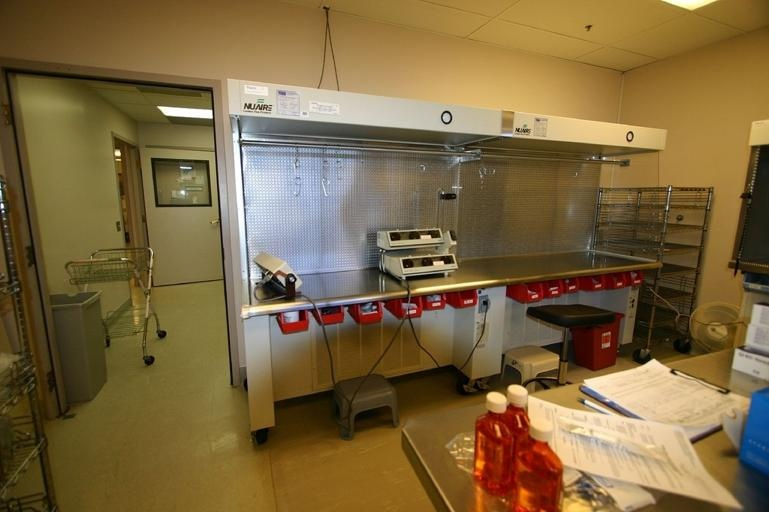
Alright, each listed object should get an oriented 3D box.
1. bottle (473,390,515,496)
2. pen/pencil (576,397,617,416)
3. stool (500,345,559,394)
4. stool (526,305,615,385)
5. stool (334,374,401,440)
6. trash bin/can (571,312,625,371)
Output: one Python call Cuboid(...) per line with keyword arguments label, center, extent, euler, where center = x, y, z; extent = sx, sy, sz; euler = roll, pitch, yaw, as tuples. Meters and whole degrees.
Cuboid(label="bottle", center=(0.599, 1.017, 2.876), extent=(0.221, 0.569, 0.168), euler=(0, 14, 10))
Cuboid(label="pen/pencil", center=(1.261, 0.893, 3.101), extent=(0.204, 0.027, 0.028), euler=(20, 32, 38))
Cuboid(label="stool", center=(1.341, 0.981, 4.732), extent=(0.404, 0.243, 0.388), euler=(-4, 6, -20))
Cuboid(label="stool", center=(1.651, 0.789, 4.627), extent=(0.561, 0.738, 0.675), euler=(-3, 9, -15))
Cuboid(label="stool", center=(-0.134, 1.207, 4.354), extent=(0.484, 0.265, 0.466), euler=(-6, 10, -22))
Cuboid(label="trash bin/can", center=(2.076, 0.847, 5.183), extent=(0.470, 0.455, 0.418), euler=(-6, 3, -36))
